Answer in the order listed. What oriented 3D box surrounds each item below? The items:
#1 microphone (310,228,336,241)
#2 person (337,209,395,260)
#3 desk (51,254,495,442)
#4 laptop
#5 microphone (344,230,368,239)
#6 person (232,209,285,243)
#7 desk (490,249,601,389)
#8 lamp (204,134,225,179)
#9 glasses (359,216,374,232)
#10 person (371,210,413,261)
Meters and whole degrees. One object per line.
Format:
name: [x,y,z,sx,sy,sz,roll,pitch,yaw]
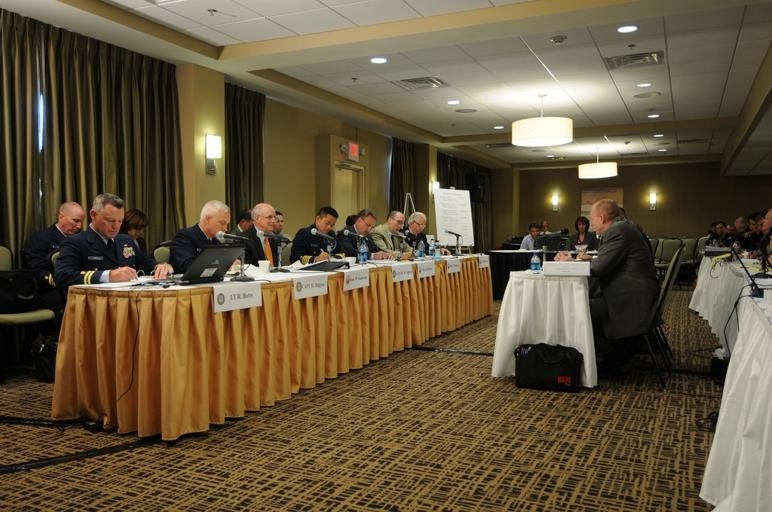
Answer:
microphone: [-0.721,-0.249,5.871,0.275,0.075,0.079,22,28,-1]
person: [-0.272,-0.211,6.643,0.768,0.687,0.533,16,4,19]
desk: [-0.573,0.604,5.470,1.063,1.239,4.920,7,11,40]
laptop: [-1.400,-0.012,3.997,0.385,0.265,0.422,3,1,25]
microphone: [-0.347,-0.289,6.601,0.364,0.093,0.105,8,3,-16]
person: [-1.455,-0.353,5.912,0.724,0.312,0.575,5,12,21]
desk: [1.567,0.519,5.281,1.045,1.062,1.075,0,-1,17]
lamp: [-2.440,-1.435,7.400,0.081,0.565,0.244,5,10,33]
glasses: [-0.264,-0.429,6.664,0.186,0.173,0.148,18,-14,48]
person: [0.104,-0.252,7.267,0.614,0.776,0.738,3,5,-20]
